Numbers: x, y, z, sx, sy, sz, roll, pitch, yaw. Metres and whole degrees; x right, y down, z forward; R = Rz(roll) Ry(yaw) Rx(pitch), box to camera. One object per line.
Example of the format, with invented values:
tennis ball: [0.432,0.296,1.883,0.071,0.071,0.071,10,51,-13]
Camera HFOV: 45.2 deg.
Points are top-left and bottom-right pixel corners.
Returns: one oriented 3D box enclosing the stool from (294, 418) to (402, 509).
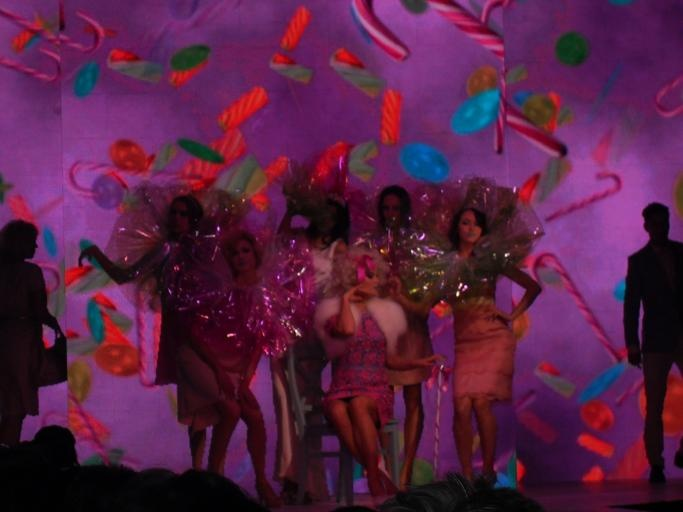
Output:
stool: [0.033,1.167,4.739,0.508,0.496,0.516,-1,-13,3]
